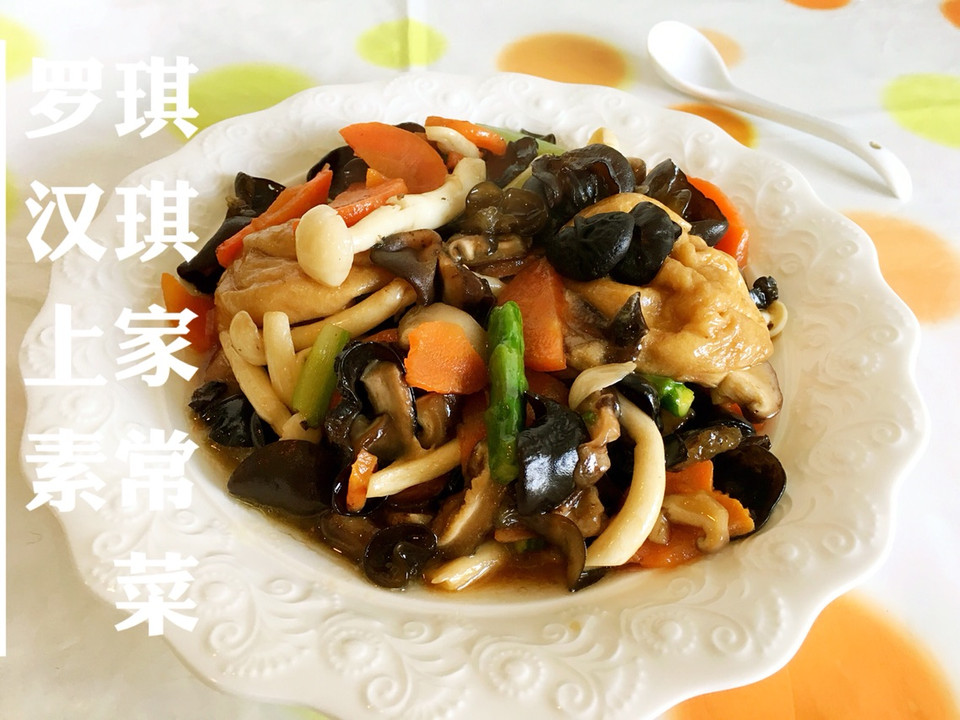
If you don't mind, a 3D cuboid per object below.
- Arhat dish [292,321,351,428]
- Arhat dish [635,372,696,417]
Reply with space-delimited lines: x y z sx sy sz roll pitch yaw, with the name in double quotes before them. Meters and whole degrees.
"Arhat dish" -0.780 -0.029 4.998 0.298 0.609 0.213 -3 104 -9
"Arhat dish" 0.864 0.165 4.796 0.254 0.093 0.147 40 67 -10
